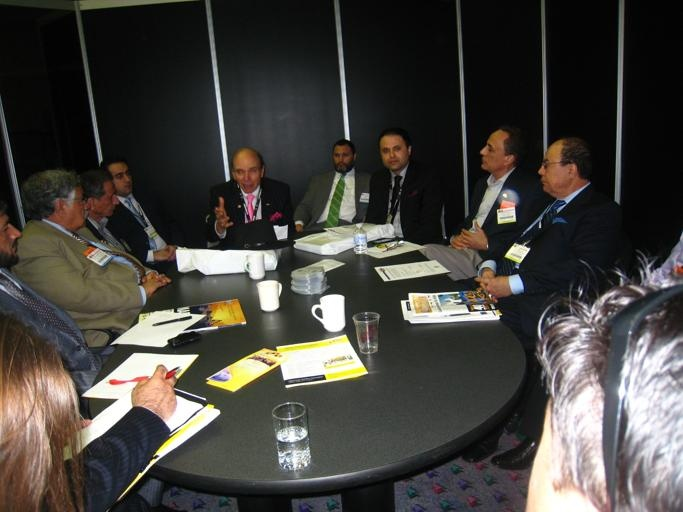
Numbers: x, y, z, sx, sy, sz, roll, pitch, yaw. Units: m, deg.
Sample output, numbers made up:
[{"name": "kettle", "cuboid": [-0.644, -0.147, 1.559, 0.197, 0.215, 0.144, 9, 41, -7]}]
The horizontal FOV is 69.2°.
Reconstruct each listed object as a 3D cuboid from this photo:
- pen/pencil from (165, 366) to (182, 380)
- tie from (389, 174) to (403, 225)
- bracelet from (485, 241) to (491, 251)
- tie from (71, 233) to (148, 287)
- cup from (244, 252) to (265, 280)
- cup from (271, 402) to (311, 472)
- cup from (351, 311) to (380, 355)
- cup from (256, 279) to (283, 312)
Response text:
[{"name": "pen/pencil", "cuboid": [-0.550, 0.378, 1.607, 0.023, 0.023, 0.071, 12, 8, 1]}, {"name": "tie", "cuboid": [0.443, -0.462, 4.023, 0.069, 0.337, 0.166, 7, 0, -29]}, {"name": "bracelet", "cuboid": [1.014, -0.064, 3.388, 0.009, 0.039, 0.037, -41, 48, -22]}, {"name": "tie", "cuboid": [-1.398, 0.029, 2.923, 0.232, 0.178, 0.604, 17, -3, 29]}, {"name": "cup", "cuboid": [-0.441, 0.055, 2.534, 0.086, 0.146, 0.142, 9, 17, 32]}, {"name": "cup", "cuboid": [-0.130, 0.470, 1.261, 0.099, 0.168, 0.103, -3, 24, 1]}, {"name": "cup", "cuboid": [0.090, 0.265, 1.696, 0.113, 0.139, 0.120, -2, 6, 0]}, {"name": "cup", "cuboid": [-0.301, 0.173, 2.149, 0.124, 0.130, 0.099, 0, 9, 0]}]
